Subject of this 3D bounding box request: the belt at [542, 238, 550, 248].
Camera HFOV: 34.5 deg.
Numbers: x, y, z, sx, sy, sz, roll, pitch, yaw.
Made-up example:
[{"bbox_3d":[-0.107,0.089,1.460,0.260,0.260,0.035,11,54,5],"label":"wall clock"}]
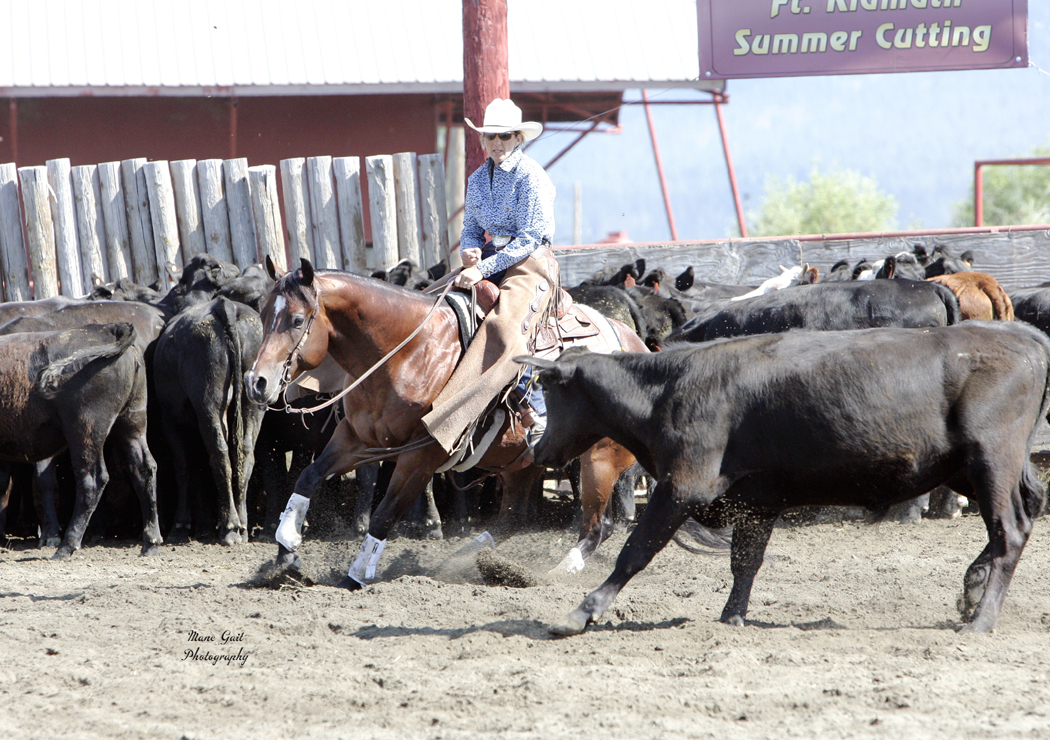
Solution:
[{"bbox_3d":[0.178,-1.094,14.903,0.031,0.063,0.111,-5,-6,21],"label":"belt"}]
